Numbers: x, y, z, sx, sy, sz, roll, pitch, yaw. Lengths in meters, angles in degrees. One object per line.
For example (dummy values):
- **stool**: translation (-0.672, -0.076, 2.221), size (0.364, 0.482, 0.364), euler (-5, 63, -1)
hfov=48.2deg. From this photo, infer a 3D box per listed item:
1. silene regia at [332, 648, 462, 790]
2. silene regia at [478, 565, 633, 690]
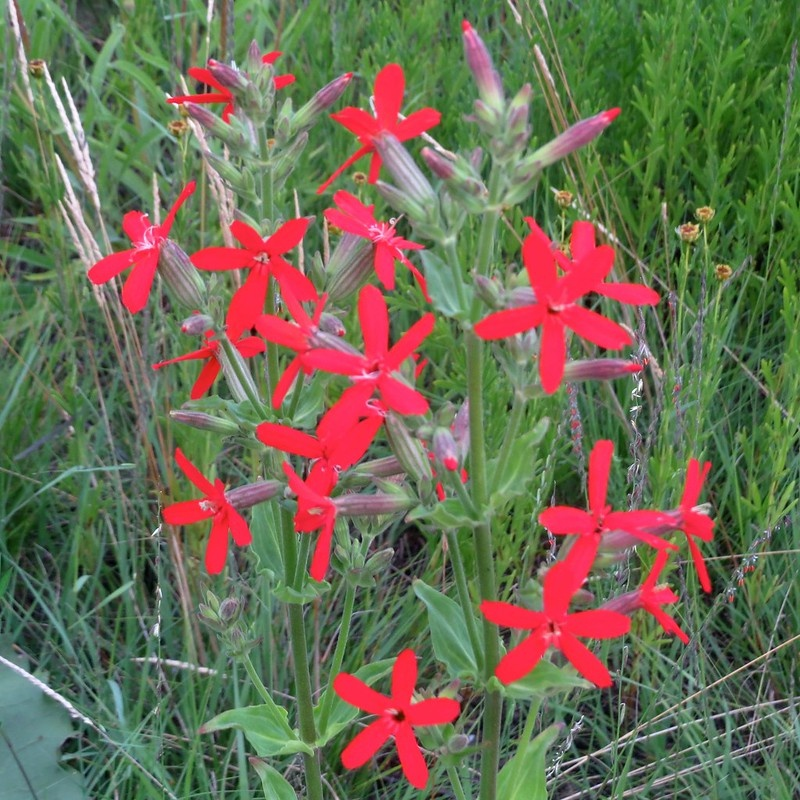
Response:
- **silene regia**: translation (-0.009, 0.653, 1.888), size (0.241, 0.338, 0.091), euler (3, 3, 18)
- **silene regia**: translation (0.301, 0.443, 1.804), size (0.231, 0.282, 0.085), euler (35, 3, 9)
